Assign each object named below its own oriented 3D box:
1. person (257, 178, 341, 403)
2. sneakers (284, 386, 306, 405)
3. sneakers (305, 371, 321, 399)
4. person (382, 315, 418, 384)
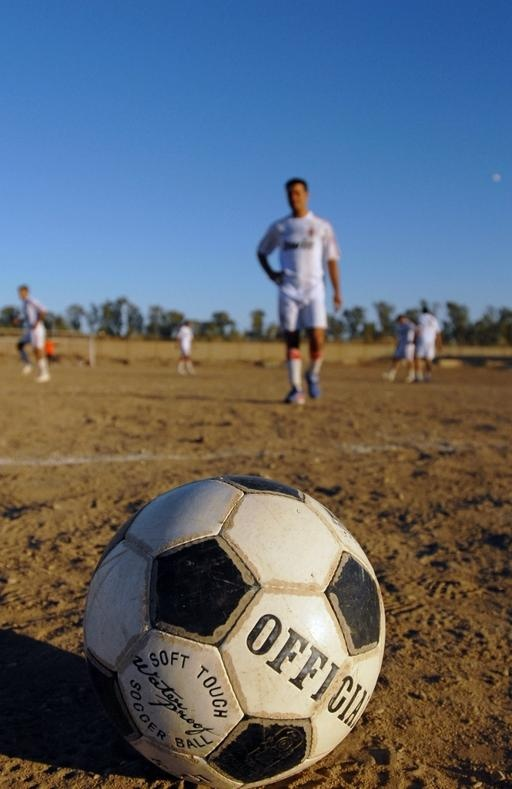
[{"bbox_3d":[0.347,-0.762,5.366,0.682,1.818,0.890,0,8,0],"label":"person"},{"bbox_3d":[0.343,0.019,5.866,0.099,0.150,0.178,0,3,-2],"label":"sneakers"},{"bbox_3d":[0.521,-0.072,6.050,0.087,0.317,0.109,-7,-5,-14],"label":"sneakers"},{"bbox_3d":[2.204,-0.689,10.164,0.476,1.063,1.082,2,8,12],"label":"person"}]
